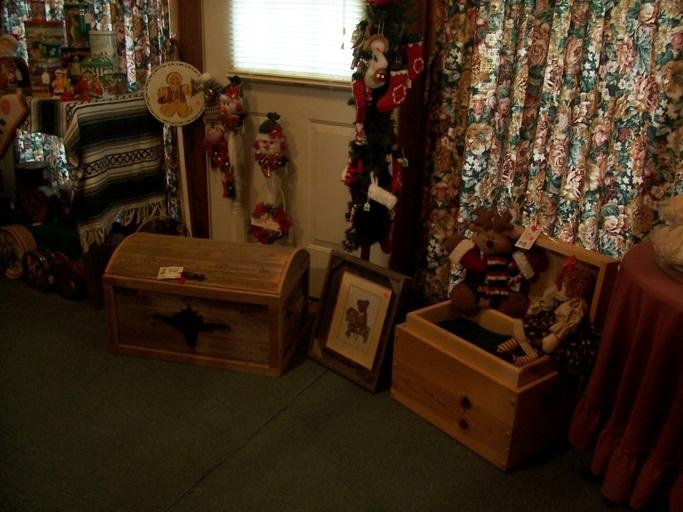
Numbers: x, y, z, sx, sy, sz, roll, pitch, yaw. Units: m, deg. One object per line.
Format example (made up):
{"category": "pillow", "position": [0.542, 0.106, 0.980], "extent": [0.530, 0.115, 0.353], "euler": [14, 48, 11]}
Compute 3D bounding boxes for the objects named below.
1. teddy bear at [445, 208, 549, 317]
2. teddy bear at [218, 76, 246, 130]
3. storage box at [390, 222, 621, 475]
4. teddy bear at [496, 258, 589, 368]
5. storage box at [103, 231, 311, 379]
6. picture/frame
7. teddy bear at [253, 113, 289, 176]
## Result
{"category": "teddy bear", "position": [0.764, 0.035, 2.519], "extent": [0.439, 0.538, 0.223], "euler": [5, 12, 21]}
{"category": "teddy bear", "position": [-0.639, -0.893, 3.084], "extent": [0.156, 0.311, 0.119], "euler": [1, 23, -5]}
{"category": "storage box", "position": [0.688, 0.382, 2.428], "extent": [0.518, 0.865, 0.707], "euler": [-11, 22, -32]}
{"category": "teddy bear", "position": [0.880, 0.236, 2.250], "extent": [0.382, 0.463, 0.276], "euler": [-5, 17, -22]}
{"category": "storage box", "position": [-0.715, 0.207, 2.899], "extent": [0.970, 0.619, 0.567], "euler": [6, 24, 6]}
{"category": "picture/frame", "position": [0.097, 0.355, 2.682], "extent": [0.511, 0.671, 0.144], "euler": [17, 2, 34]}
{"category": "teddy bear", "position": [-0.401, -0.648, 3.061], "extent": [0.198, 0.363, 0.150], "euler": [0, 23, -6]}
